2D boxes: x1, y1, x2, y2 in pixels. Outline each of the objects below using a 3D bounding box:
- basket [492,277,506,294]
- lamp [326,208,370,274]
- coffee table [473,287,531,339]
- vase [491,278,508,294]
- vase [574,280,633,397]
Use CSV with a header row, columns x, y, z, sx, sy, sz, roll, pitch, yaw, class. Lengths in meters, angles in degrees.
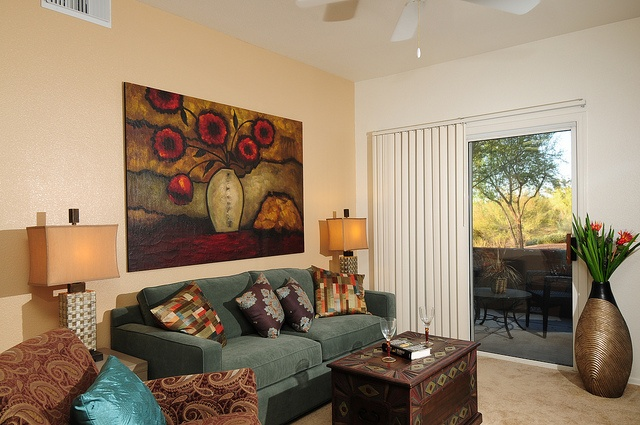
x,y,z,sx,sy,sz,roll,pitch,yaw,class
2.182,0.902,5.189,0.170,0.203,0.179,-1,-7,28,basket
0.448,0.458,5.560,0.439,0.741,0.486,10,-9,0,lamp
2.154,1.218,5.196,0.647,0.445,0.660,9,-13,-12,coffee table
2.186,0.903,5.186,0.165,0.192,0.177,2,-6,-4,vase
2.831,1.272,4.258,0.472,1.123,0.262,-2,-1,33,vase
